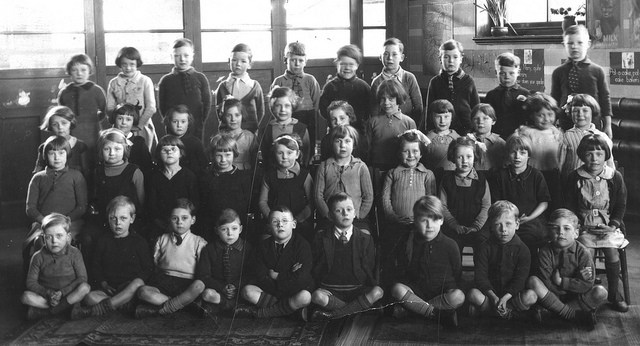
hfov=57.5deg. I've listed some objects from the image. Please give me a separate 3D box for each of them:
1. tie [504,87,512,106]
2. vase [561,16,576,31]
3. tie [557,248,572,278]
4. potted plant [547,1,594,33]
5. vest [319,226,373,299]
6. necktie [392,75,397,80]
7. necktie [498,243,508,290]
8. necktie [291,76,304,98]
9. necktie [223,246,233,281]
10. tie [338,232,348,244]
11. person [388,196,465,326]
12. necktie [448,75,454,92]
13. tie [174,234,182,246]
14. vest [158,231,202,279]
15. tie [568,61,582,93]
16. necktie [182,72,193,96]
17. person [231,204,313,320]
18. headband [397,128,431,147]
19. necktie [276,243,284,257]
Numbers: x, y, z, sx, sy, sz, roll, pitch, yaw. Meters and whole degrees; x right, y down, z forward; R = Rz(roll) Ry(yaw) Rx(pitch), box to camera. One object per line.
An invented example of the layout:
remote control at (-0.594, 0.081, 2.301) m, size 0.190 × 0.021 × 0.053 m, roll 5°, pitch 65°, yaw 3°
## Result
tie at (1.618, -0.647, 5.017) m, size 0.054 × 0.151 × 0.178 m, roll 3°, pitch 9°, yaw 19°
vase at (2.119, -1.269, 4.956) m, size 0.104 × 0.100 × 0.093 m, roll 1°, pitch 12°, yaw 16°
tie at (2.006, 0.753, 4.779) m, size 0.171 × 0.198 × 0.068 m, roll -3°, pitch -6°, yaw 22°
potted plant at (2.080, -1.303, 4.886) m, size 0.328 × 0.193 × 0.253 m, roll 2°, pitch 2°, yaw -30°
vest at (0.221, 0.771, 4.857) m, size 0.415 × 0.526 × 0.147 m, roll 1°, pitch 9°, yaw 4°
necktie at (0.729, -0.921, 5.672) m, size 0.057 × 0.037 × 0.034 m, roll 6°, pitch 11°, yaw 36°
necktie at (1.521, 0.767, 4.816) m, size 0.067 × 0.354 × 0.100 m, roll 1°, pitch 9°, yaw 5°
necktie at (-0.221, -0.854, 5.907) m, size 0.131 × 0.205 × 0.041 m, roll -2°, pitch 10°, yaw -10°
necktie at (-0.780, 0.768, 4.972) m, size 0.084 × 0.277 × 0.055 m, roll -1°, pitch 10°, yaw -7°
tie at (0.198, 0.551, 4.864) m, size 0.085 × 0.094 × 0.028 m, roll 1°, pitch -2°, yaw 0°
person at (0.895, 0.700, 4.833) m, size 0.621 × 0.985 × 0.428 m, roll 2°, pitch 9°, yaw 12°
necktie at (1.195, -0.809, 5.302) m, size 0.054 × 0.133 × 0.114 m, roll 2°, pitch 9°, yaw 12°
tie at (-1.213, 0.587, 5.040) m, size 0.066 × 0.066 × 0.019 m, roll -5°, pitch -5°, yaw 14°
vest at (-1.211, 0.710, 5.105) m, size 0.477 × 0.380 × 0.240 m, roll 4°, pitch 16°, yaw 20°
tie at (2.229, -0.829, 5.098) m, size 0.078 × 0.262 × 0.156 m, roll 8°, pitch 12°, yaw 40°
necktie at (-1.330, -0.875, 5.822) m, size 0.091 × 0.208 × 0.108 m, roll 1°, pitch 9°, yaw 8°
person at (-0.398, 0.747, 4.906) m, size 0.786 × 0.806 × 0.649 m, roll -10°, pitch 9°, yaw -12°
headband at (0.866, -0.305, 5.268) m, size 0.263 × 0.142 × 0.120 m, roll -4°, pitch 10°, yaw -23°
necktie at (-0.340, 0.643, 4.917) m, size 0.071 × 0.083 × 0.023 m, roll 9°, pitch 4°, yaw 11°
